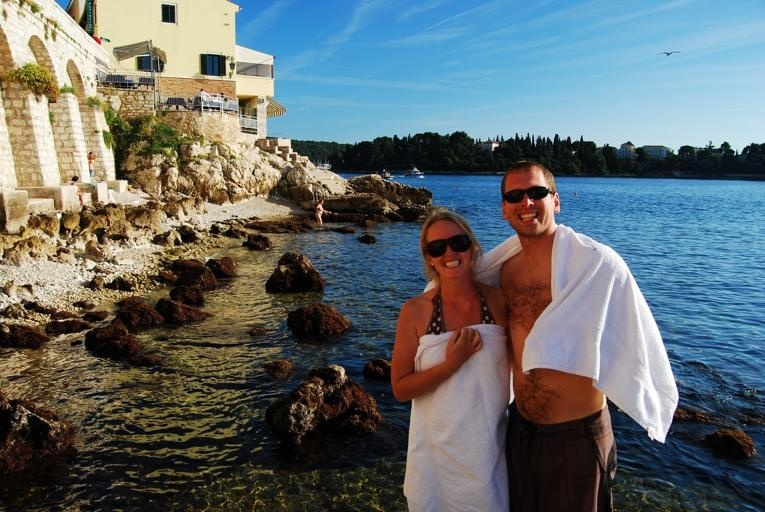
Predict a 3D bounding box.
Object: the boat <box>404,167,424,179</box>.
[{"bbox_3d":[9.290,-23.856,159.978,2.935,3.492,8.022,4,20,13],"label":"boat"}]
